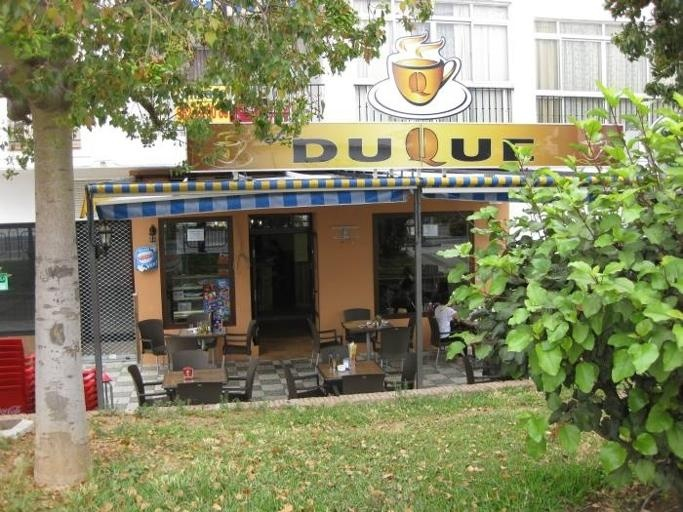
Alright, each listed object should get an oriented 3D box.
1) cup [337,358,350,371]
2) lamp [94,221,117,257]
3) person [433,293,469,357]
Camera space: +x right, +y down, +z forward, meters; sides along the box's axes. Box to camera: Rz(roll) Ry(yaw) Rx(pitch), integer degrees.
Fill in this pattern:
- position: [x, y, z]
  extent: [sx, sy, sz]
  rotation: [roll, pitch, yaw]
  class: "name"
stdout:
- position: [0.030, 1.624, 11.033]
  extent: [0.130, 0.153, 0.258]
  rotation: [-2, -8, 2]
  class: "cup"
- position: [-3.837, -0.301, 11.849]
  extent: [0.313, 0.706, 0.207]
  rotation: [-3, 35, -20]
  class: "lamp"
- position: [2.273, 1.341, 15.097]
  extent: [0.697, 1.406, 0.494]
  rotation: [-10, 21, -13]
  class: "person"
